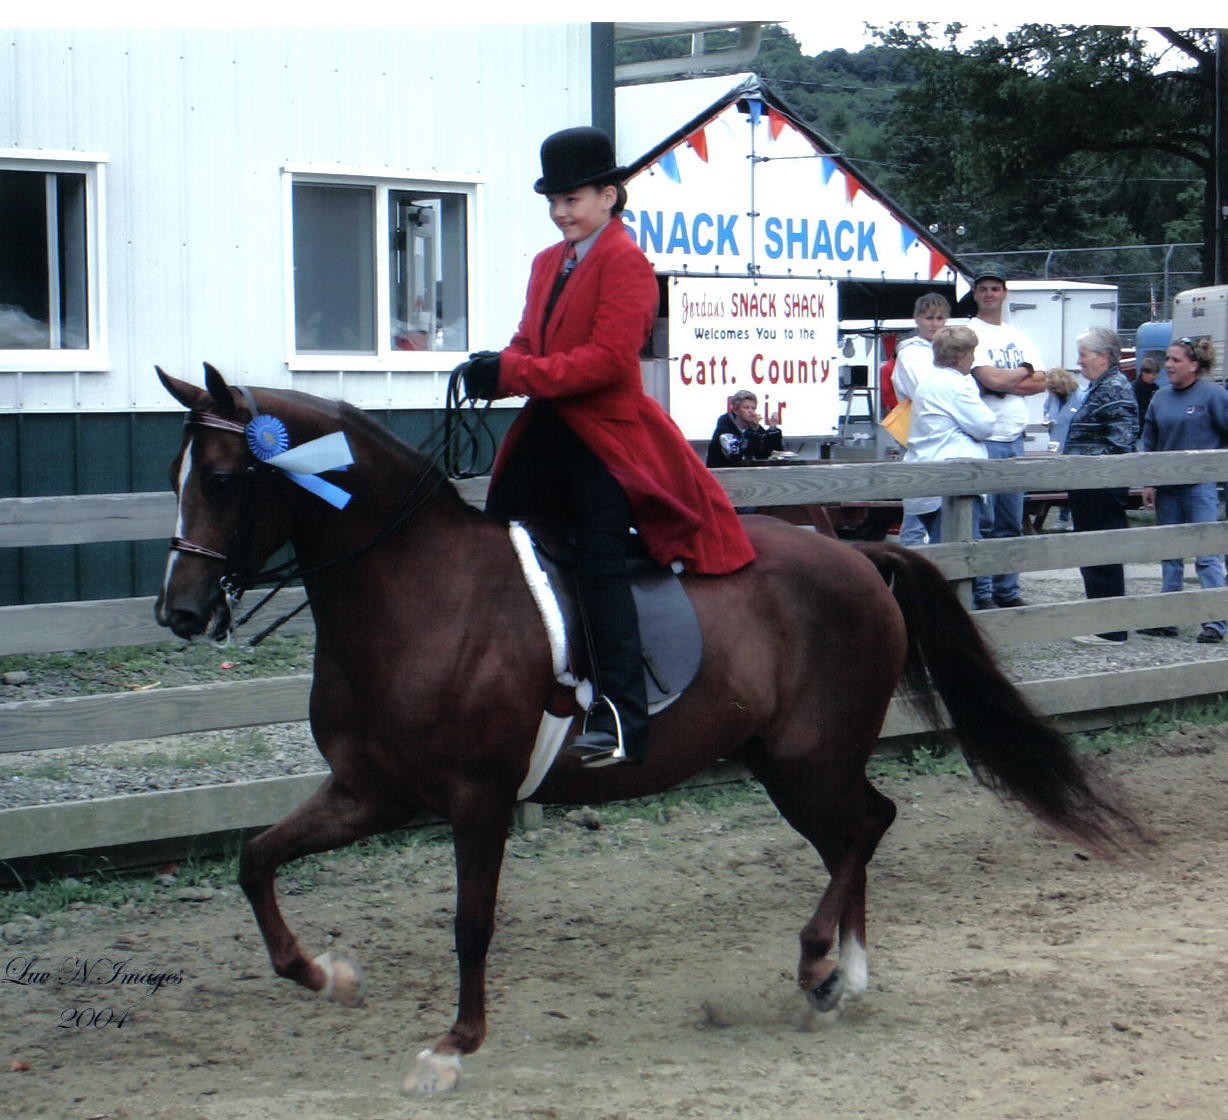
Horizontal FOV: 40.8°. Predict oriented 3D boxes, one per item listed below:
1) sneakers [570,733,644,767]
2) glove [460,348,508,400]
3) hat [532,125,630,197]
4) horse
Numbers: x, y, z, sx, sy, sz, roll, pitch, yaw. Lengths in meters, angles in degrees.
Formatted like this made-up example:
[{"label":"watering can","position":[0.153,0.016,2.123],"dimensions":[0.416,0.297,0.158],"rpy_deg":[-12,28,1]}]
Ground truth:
[{"label":"sneakers","position":[-0.015,0.506,4.395],"dimensions":[0.213,0.078,0.077],"rpy_deg":[10,-15,-41]},{"label":"glove","position":[-0.347,-0.492,4.385],"dimensions":[0.111,0.133,0.171],"rpy_deg":[0,12,-5]},{"label":"hat","position":[-0.098,-1.074,4.431],"dimensions":[0.221,0.106,0.219],"rpy_deg":[-12,13,1]},{"label":"horse","position":[0.239,0.455,4.893],"dimensions":[3.370,1.668,0.704],"rpy_deg":[1,-9,-30]}]
